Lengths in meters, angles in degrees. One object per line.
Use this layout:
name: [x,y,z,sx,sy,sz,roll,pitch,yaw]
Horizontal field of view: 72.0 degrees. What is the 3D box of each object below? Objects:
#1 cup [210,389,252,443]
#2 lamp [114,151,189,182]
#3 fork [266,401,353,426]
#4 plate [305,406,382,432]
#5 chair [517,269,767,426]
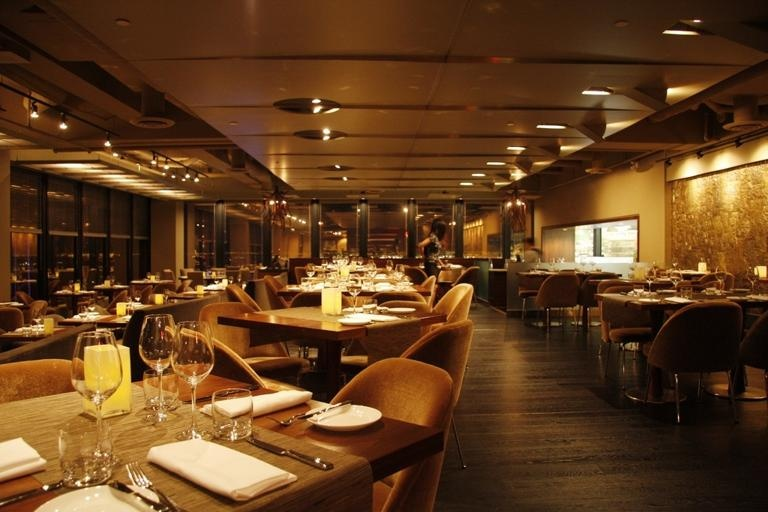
cup: [-0.567,0.607,2.029,0.191,0.170,0.175,-1,1,0]
lamp: [-5.051,-1.919,11.673,1.570,0.528,3.609,-2,7,-19]
fork: [-0.301,0.646,2.155,0.330,0.022,0.091,-8,9,-27]
plate: [-0.157,0.656,2.109,0.261,0.051,0.171,-4,8,-32]
chair: [2.748,0.875,5.338,1.488,0.752,1.360,0,-1,-10]
